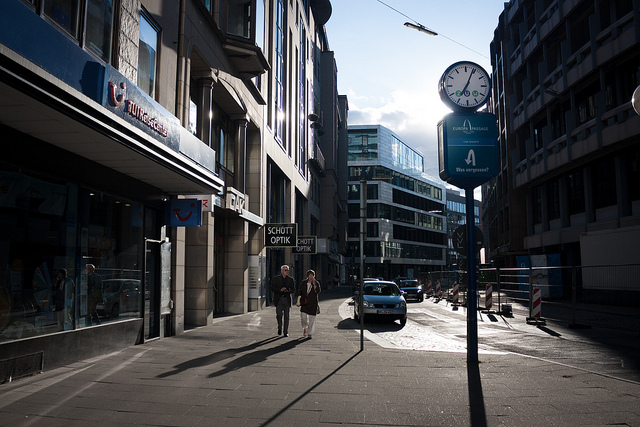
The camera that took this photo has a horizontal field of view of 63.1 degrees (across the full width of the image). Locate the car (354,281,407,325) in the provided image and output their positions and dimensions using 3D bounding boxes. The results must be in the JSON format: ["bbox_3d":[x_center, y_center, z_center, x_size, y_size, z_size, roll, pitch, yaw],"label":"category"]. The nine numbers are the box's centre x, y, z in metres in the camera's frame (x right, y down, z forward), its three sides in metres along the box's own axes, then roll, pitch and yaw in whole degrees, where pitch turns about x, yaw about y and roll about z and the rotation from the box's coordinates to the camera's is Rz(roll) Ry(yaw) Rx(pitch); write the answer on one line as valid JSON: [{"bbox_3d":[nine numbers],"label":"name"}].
[{"bbox_3d":[2.440,3.497,21.145,1.132,1.116,2.835,0,-21,0],"label":"car"}]
